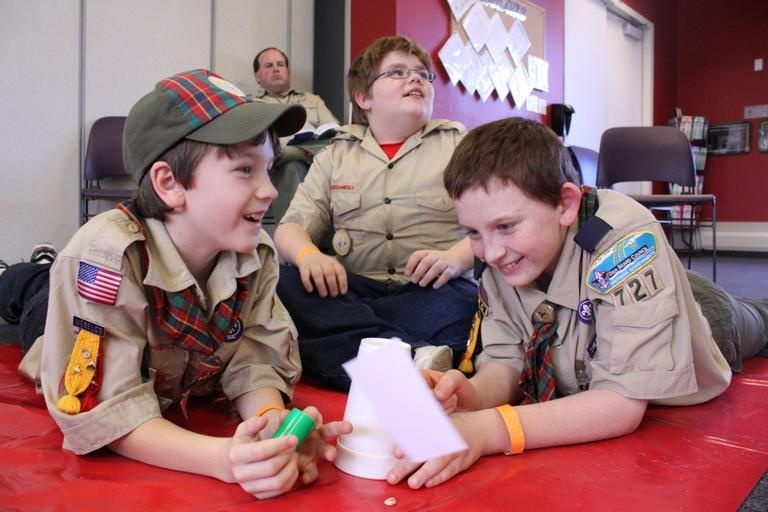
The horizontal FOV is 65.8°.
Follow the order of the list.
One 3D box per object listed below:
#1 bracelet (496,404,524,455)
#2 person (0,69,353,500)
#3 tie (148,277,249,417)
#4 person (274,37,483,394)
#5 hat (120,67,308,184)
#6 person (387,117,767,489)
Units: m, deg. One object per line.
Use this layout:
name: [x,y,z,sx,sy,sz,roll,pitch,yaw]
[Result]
bracelet: [0.296,0.392,1.360,0.080,0.089,0.087,-2,-12,3]
person: [-0.450,0.018,1.383,0.701,0.928,0.518,-3,10,-5]
tie: [-0.469,0.214,1.494,0.272,0.400,0.097,-12,29,-39]
person: [-0.042,-0.184,2.314,0.717,1.199,1.146,3,4,5]
hat: [-0.425,-0.309,1.512,0.395,0.208,0.259,-24,8,5]
person: [0.415,0.040,1.500,0.929,0.779,0.423,-5,10,-14]
